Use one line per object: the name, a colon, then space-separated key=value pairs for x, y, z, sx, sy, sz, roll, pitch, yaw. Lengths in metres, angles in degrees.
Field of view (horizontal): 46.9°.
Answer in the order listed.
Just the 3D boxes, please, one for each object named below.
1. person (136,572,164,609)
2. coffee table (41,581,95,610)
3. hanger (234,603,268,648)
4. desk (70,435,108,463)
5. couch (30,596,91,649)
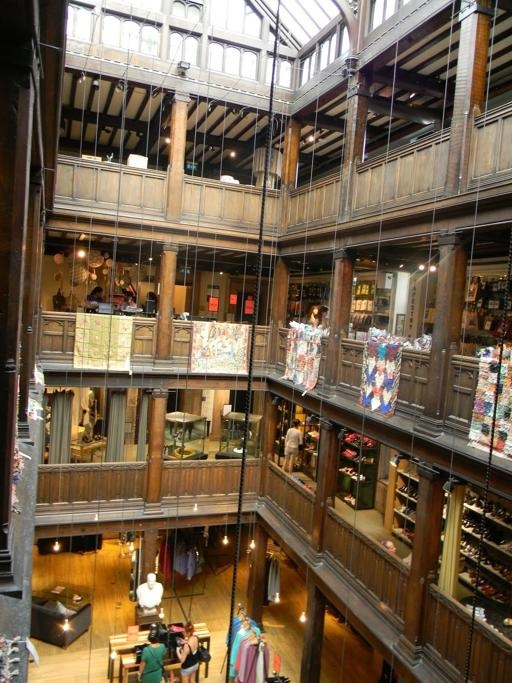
person: x=-1.871 y=4.389 z=10.367 sx=0.394 sy=0.932 sz=0.634 roll=2 pitch=6 yaw=-10
coffee table: x=-3.581 y=4.804 z=11.063 sx=0.573 sy=0.407 sz=0.397 roll=8 pitch=19 yaw=18
hanger: x=-0.131 y=4.083 z=8.361 sx=0.412 sy=0.721 sz=0.487 roll=3 pitch=6 yaw=0
desk: x=-3.343 y=2.159 z=11.775 sx=0.725 sy=0.509 sz=0.392 roll=3 pitch=-2 yaw=-43
couch: x=-3.649 y=5.084 z=10.816 sx=0.938 sy=0.753 sz=0.878 roll=5 pitch=6 yaw=14
